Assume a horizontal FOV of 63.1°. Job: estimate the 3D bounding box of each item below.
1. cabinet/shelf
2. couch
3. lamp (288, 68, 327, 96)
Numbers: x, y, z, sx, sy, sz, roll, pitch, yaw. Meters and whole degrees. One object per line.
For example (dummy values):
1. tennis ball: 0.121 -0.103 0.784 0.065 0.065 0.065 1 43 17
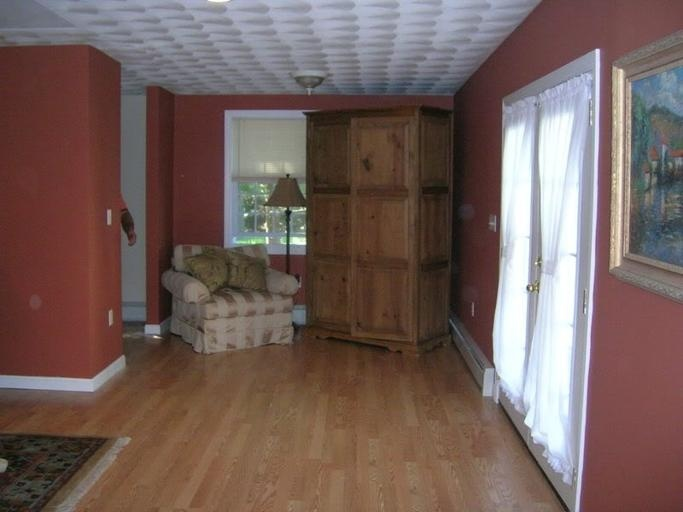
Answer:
1. cabinet/shelf: 0.359 -0.307 5.808 1.542 2.425 0.569 4 10 21
2. couch: -1.228 0.418 6.109 1.147 1.155 1.334 2 3 41
3. lamp: -0.322 -1.773 5.562 0.351 0.127 0.422 0 11 -4
